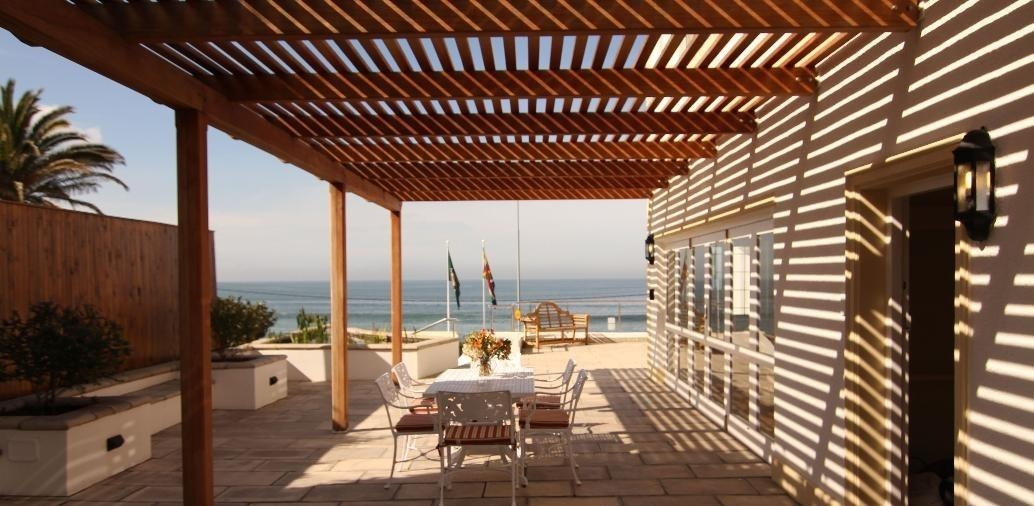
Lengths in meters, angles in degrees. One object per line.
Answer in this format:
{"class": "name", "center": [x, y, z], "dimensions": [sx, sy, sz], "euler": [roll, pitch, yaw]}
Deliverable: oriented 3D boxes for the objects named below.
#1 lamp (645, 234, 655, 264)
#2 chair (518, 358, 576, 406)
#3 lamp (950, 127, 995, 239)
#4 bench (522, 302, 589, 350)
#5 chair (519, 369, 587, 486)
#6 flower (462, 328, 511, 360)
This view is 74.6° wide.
{"class": "lamp", "center": [2.973, -0.121, 14.929], "dimensions": [0.171, 0.641, 0.324], "euler": [0, -5, 1]}
{"class": "chair", "center": [0.529, 2.422, 11.480], "dimensions": [1.017, 1.114, 0.830], "euler": [-2, 0, 5]}
{"class": "lamp", "center": [5.640, -0.857, 8.321], "dimensions": [0.435, 1.410, 0.245], "euler": [-2, -5, 30]}
{"class": "bench", "center": [1.076, 1.970, 18.815], "dimensions": [2.000, 1.095, 0.813], "euler": [2, 2, -34]}
{"class": "chair", "center": [0.556, 2.732, 11.440], "dimensions": [1.715, 1.986, 1.623], "euler": [1, -5, 0]}
{"class": "flower", "center": [-0.554, 1.552, 11.617], "dimensions": [0.608, 0.451, 0.594], "euler": [-3, -8, 42]}
